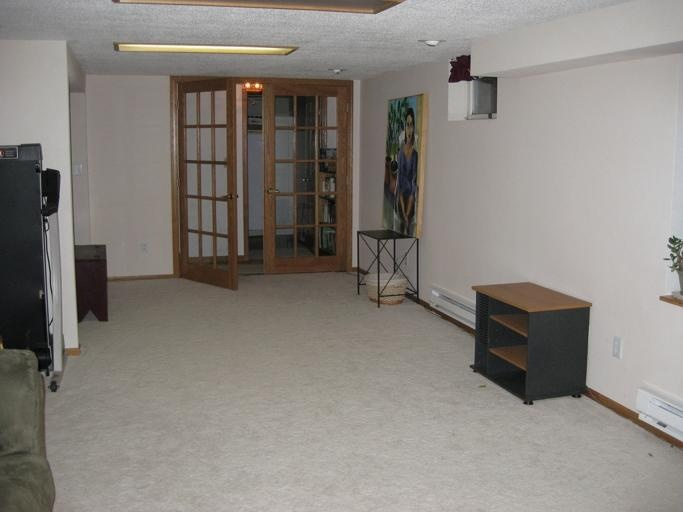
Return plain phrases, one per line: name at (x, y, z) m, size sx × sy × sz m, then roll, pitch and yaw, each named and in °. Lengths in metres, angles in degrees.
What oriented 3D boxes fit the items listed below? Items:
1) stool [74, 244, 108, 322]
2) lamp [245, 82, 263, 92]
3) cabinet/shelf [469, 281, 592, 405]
stool at (-2.724, 0.328, 5.889) m, size 0.378 × 0.709 × 0.711 m, roll -3°, pitch 10°, yaw -18°
lamp at (-1.263, -2.432, 7.833) m, size 0.246 × 0.117 × 0.354 m, roll 0°, pitch 11°, yaw 5°
cabinet/shelf at (1.507, 0.669, 4.367) m, size 0.568 × 0.756 × 0.761 m, roll -4°, pitch 11°, yaw -20°
